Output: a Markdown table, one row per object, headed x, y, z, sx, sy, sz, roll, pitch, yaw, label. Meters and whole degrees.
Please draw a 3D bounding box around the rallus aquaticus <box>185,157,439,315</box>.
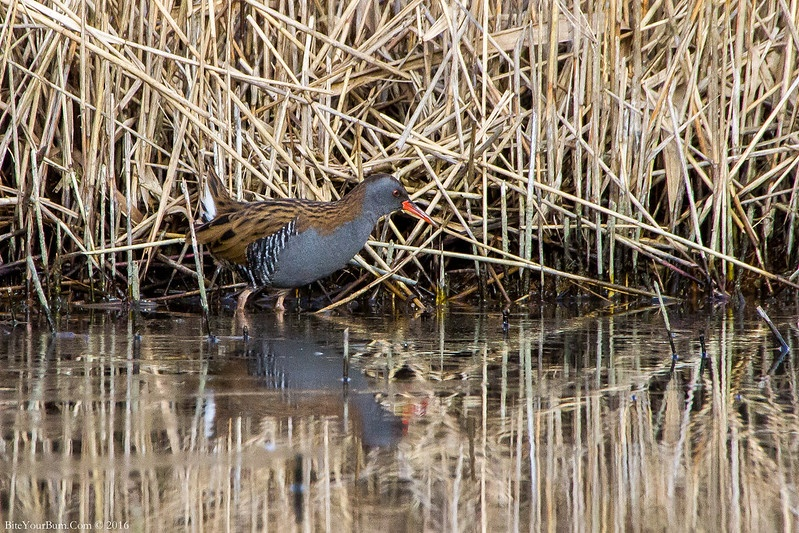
| x | y | z | sx | sy | sz | roll | pitch | yaw | label |
| --- | --- | --- | --- | --- | --- | --- | --- | --- | --- |
| -0.625 | -0.117 | 6.883 | 1.586 | 0.716 | 1.064 | 9 | 94 | 22 | rallus aquaticus |
